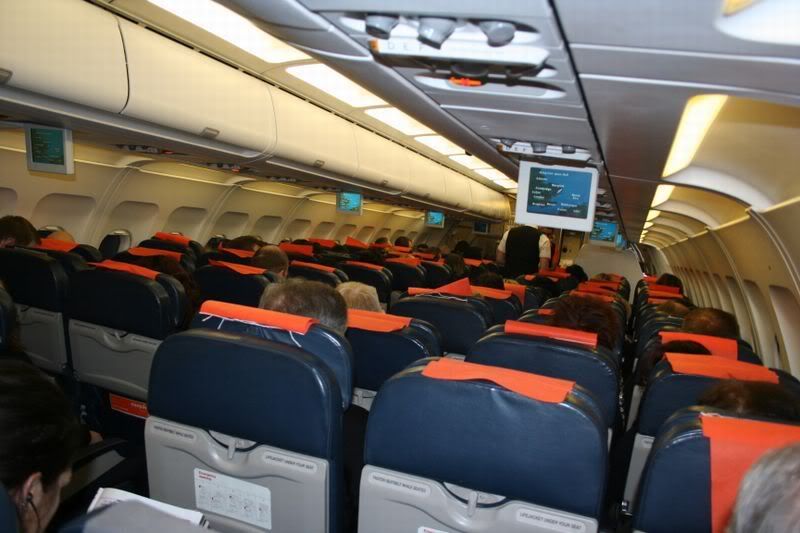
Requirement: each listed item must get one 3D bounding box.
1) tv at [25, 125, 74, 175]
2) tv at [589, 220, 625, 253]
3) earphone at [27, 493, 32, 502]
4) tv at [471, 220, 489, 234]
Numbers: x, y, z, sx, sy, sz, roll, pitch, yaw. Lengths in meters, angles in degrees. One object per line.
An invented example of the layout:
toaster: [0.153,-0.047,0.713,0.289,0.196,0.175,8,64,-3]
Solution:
tv: [-3.673,-1.238,5.356,0.573,0.561,0.088,12,25,11]
tv: [4.252,-0.621,10.613,0.714,0.561,0.385,10,11,37]
earphone: [-1.082,0.677,1.492,0.022,0.019,0.006,-4,1,-44]
tv: [3.530,-1.765,22.595,0.107,0.477,0.787,-3,-2,45]
